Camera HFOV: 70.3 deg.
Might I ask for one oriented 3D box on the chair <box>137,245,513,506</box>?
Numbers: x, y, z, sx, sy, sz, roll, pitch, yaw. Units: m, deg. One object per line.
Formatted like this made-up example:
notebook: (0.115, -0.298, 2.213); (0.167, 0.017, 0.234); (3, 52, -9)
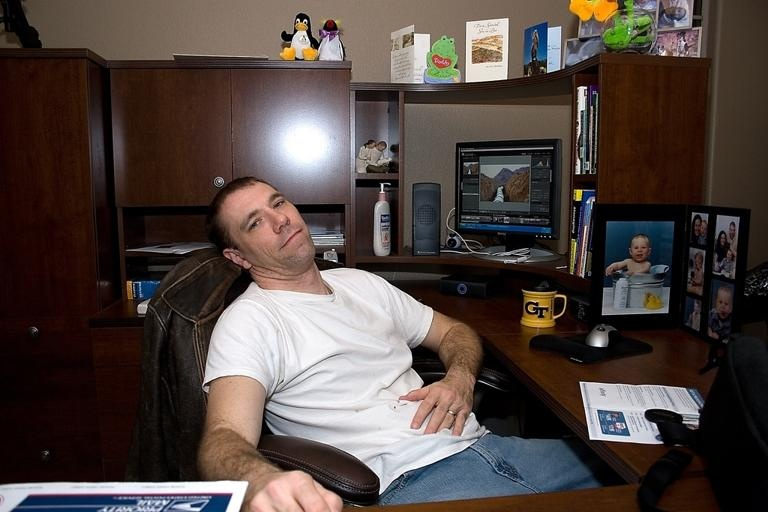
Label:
chair: (-0.201, 0.337, 1.983); (0.856, 0.973, 0.831); (-4, 4, -44)

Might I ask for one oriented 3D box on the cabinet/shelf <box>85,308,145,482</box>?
cabinet/shelf: (-1.228, 0.663, 2.556); (0.255, 0.781, 0.104); (-2, 11, 7)

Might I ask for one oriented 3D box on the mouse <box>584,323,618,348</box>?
mouse: (0.813, 0.299, 2.050); (0.065, 0.040, 0.120); (2, 6, 40)

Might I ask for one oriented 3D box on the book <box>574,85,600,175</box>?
book: (0.879, -0.539, 2.355); (0.066, 0.375, 0.132); (-6, 12, -14)

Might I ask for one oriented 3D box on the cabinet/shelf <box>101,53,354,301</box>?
cabinet/shelf: (-0.722, -0.404, 2.523); (1.316, 1.313, 0.432); (-1, 1, -4)

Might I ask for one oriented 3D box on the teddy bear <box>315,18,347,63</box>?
teddy bear: (-0.249, -1.084, 2.787); (0.162, 0.213, 0.154); (4, 5, 21)

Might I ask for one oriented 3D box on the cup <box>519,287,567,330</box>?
cup: (0.716, 0.227, 2.426); (0.220, 0.160, 0.144); (-1, 6, -4)

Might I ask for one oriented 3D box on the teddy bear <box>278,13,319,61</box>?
teddy bear: (-0.418, -1.119, 2.816); (0.248, 0.244, 0.153); (7, 19, 9)
